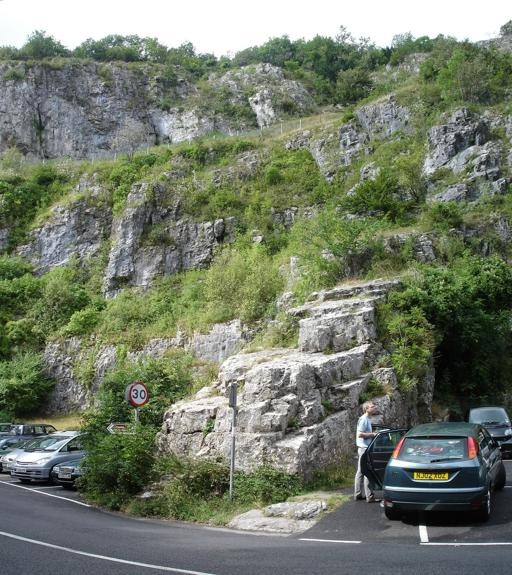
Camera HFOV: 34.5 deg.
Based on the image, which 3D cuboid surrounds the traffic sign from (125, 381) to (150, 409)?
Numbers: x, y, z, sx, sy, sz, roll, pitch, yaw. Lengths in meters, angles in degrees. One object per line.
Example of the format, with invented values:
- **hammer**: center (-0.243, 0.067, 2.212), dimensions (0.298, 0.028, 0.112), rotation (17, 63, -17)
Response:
- **traffic sign**: center (-3.198, 2.875, 21.821), dimensions (0.363, 0.775, 1.119), rotation (-1, 10, 15)

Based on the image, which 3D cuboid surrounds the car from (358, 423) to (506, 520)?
- **car**: center (4.001, 3.691, 17.405), dimensions (1.517, 1.081, 2.697), rotation (-3, 0, 20)

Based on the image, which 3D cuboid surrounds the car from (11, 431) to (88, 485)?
- **car**: center (-6.417, 5.076, 24.772), dimensions (1.609, 1.169, 2.645), rotation (-8, -12, 29)
